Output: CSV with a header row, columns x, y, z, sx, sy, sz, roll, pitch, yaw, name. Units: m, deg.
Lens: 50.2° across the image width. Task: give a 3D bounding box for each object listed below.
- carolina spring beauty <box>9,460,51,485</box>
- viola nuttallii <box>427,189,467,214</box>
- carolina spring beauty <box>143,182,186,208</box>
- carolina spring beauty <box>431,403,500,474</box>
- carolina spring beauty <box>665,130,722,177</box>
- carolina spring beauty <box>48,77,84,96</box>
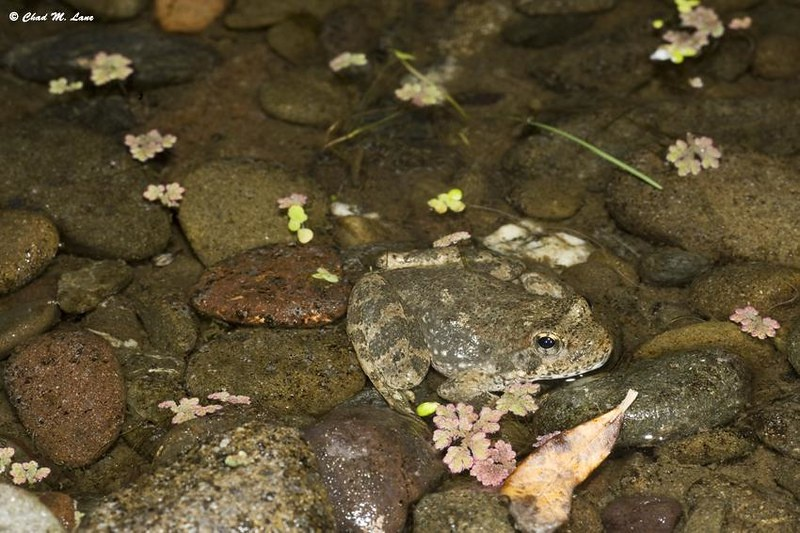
x,y,z,sx,sy,sz,roll,pitch,yaw,name
-4.182,2.333,9.658,0.439,0.060,0.263,-1,63,-3,carolina spring beauty
0.607,-0.848,11.111,0.483,0.201,0.299,-9,64,-7,viola nuttallii
-2.985,-0.926,10.875,0.476,0.124,0.315,14,63,5,carolina spring beauty
0.753,2.005,9.781,0.957,0.399,0.544,-16,25,-32,carolina spring beauty
3.735,-1.400,10.838,0.607,0.195,0.561,-28,67,-15,carolina spring beauty
-4.279,-2.317,10.924,0.430,0.090,0.201,-18,65,-11,carolina spring beauty
